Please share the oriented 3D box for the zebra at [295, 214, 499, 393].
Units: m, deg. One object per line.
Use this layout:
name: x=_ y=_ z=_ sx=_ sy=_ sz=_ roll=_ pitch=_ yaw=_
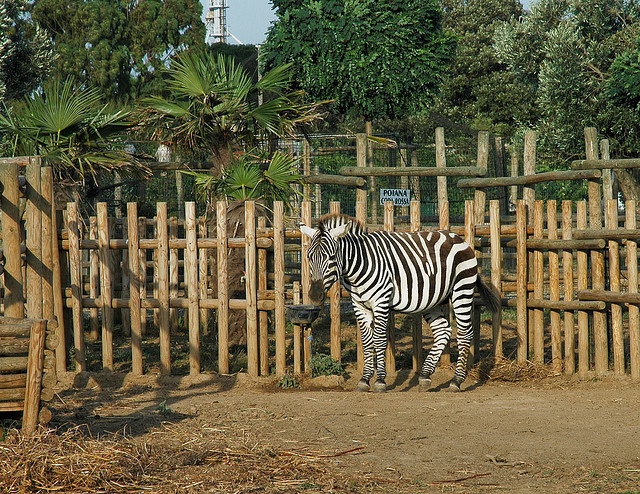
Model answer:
zebra: x=1.389 y=0.906 z=22.023 sx=3.501 sy=2.975 sz=1.088 roll=0 pitch=-3 yaw=-24
